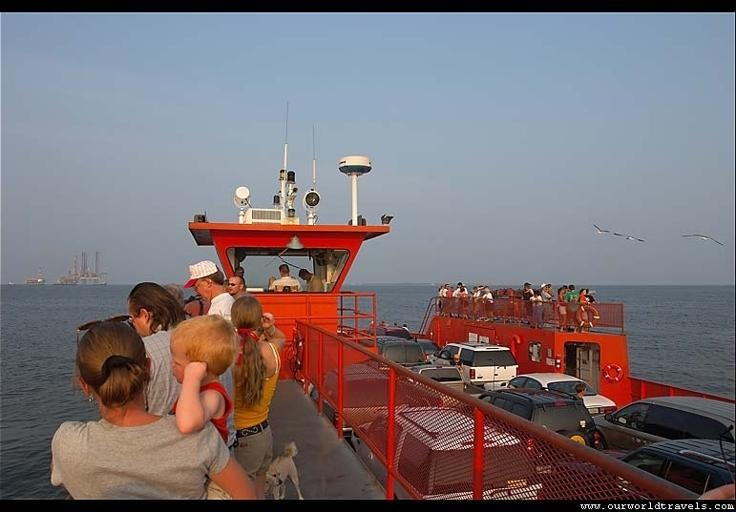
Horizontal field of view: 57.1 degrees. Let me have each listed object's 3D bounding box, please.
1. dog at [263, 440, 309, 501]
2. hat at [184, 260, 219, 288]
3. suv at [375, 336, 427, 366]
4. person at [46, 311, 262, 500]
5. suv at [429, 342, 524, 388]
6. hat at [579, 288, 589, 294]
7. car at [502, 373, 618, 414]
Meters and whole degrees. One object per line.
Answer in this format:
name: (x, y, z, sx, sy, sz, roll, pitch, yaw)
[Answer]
dog: (-0.984, 2.492, 7.758, 0.206, 0.474, 0.796, 3, 19, 19)
hat: (-1.889, 0.227, 7.844, 0.392, 0.210, 0.272, -16, 3, -5)
suv: (0.881, 2.671, 19.199, 1.122, 1.026, 1.967, 0, 4, -9)
person: (-1.857, 1.330, 5.476, 1.434, 1.294, 0.436, -10, -2, -19)
suv: (3.172, 3.118, 20.171, 1.203, 1.090, 2.219, 1, 3, -21)
hat: (7.779, 1.334, 24.227, 0.240, 0.129, 0.347, 0, 8, 37)
car: (4.791, 3.792, 17.224, 1.365, 1.014, 3.040, -1, 2, -16)
